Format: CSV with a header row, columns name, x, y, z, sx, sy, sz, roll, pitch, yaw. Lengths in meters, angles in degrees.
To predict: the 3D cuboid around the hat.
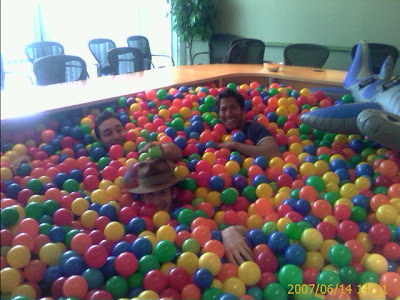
name,x,y,z,sx,sy,sz,roll,pitch,yaw
hat,-0.291,0.135,1.963,0.386,0.169,0.400,-2,5,40
